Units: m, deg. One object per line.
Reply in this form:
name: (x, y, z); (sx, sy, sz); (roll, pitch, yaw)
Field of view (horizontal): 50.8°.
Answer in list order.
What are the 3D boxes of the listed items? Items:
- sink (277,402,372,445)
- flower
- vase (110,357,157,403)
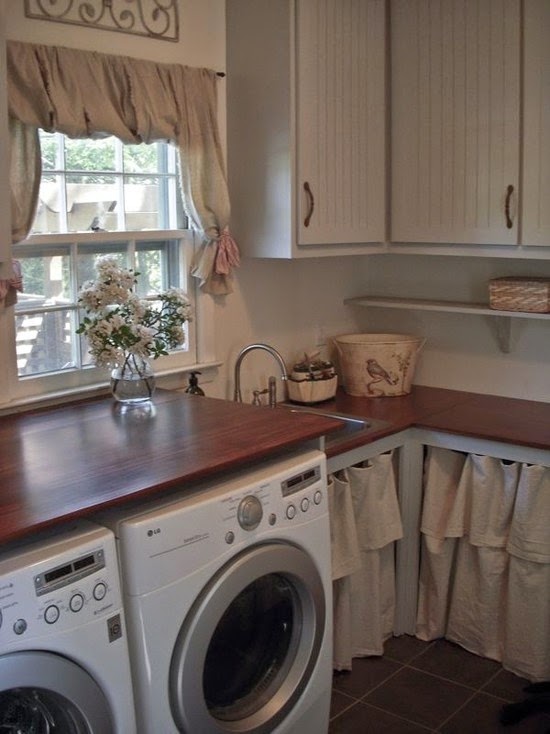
sink: (0.197, 0.216, 2.392); (0.194, 0.089, 0.479); (-3, 5, -24)
flower: (-0.432, -0.169, 1.806); (0.179, 0.326, 0.342); (2, 5, 35)
vase: (-0.456, 0.039, 1.834); (0.123, 0.159, 0.116); (-1, 4, 5)
